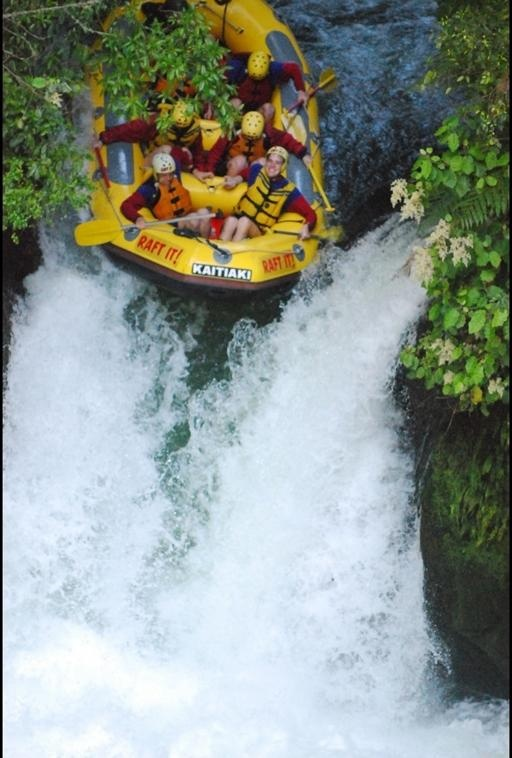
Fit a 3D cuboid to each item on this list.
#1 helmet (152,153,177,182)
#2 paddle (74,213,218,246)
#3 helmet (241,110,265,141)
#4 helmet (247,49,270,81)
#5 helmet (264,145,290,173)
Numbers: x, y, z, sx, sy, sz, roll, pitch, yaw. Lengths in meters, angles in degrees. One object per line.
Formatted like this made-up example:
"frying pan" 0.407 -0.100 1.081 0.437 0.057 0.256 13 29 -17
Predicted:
"helmet" -0.746 -1.728 7.271 0.171 0.221 0.191 -13 -16 -13
"paddle" -0.881 -1.198 7.300 1.281 0.216 0.219 -5 7 -6
"helmet" -0.031 -2.141 7.740 0.190 0.229 0.229 4 6 -1
"helmet" 0.018 -2.688 7.827 0.184 0.228 0.231 4 11 -1
"helmet" 0.204 -1.844 7.568 0.169 0.201 0.218 11 -6 9
